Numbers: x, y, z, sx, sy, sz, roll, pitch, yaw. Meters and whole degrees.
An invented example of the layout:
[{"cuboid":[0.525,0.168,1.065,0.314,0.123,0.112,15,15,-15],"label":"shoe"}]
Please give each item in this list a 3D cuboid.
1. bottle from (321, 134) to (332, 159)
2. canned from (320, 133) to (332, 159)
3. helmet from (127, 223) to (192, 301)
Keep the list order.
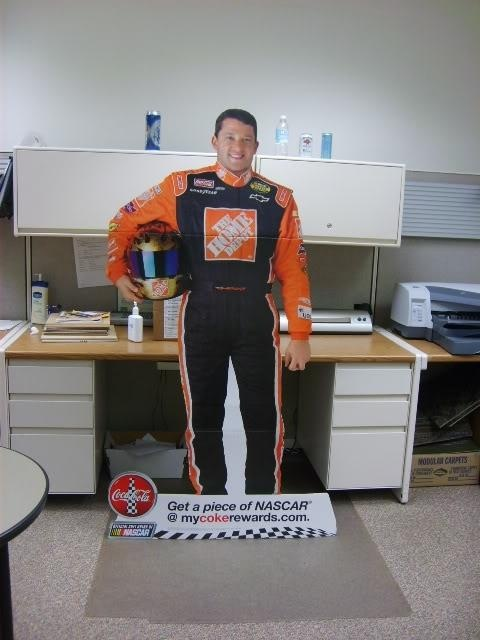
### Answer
[{"cuboid":[0.390,-0.779,2.285,0.044,0.126,0.155,3,11,7],"label":"bottle"},{"cuboid":[0.390,-0.779,2.283,0.044,0.127,0.159,3,11,7],"label":"canned"},{"cuboid":[-0.283,-0.206,1.773,0.210,0.230,0.267,-2,15,-7],"label":"helmet"}]
